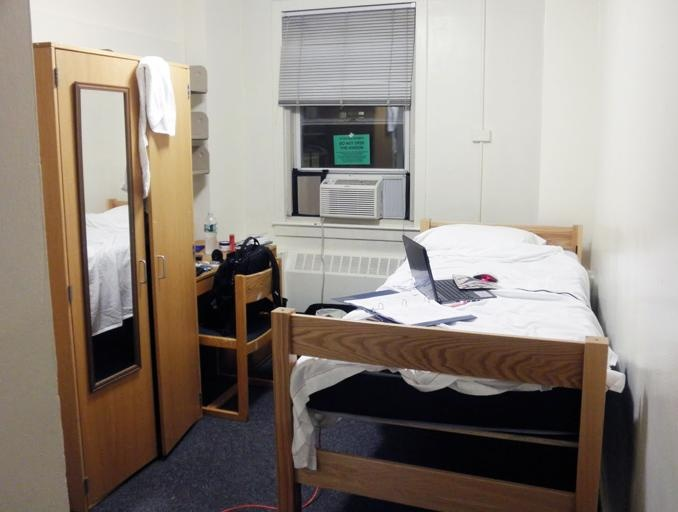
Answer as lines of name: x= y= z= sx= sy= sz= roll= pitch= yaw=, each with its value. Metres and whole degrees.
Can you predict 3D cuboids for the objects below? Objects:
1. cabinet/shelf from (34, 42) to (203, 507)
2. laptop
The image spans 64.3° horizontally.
cabinet/shelf: x=-0.926 y=0.060 z=2.363 sx=0.219 sy=1.815 sz=0.816 roll=4 pitch=13 yaw=21
laptop: x=0.494 y=-0.007 z=2.384 sx=0.274 sy=0.225 sz=0.349 roll=-5 pitch=11 yaw=-8
